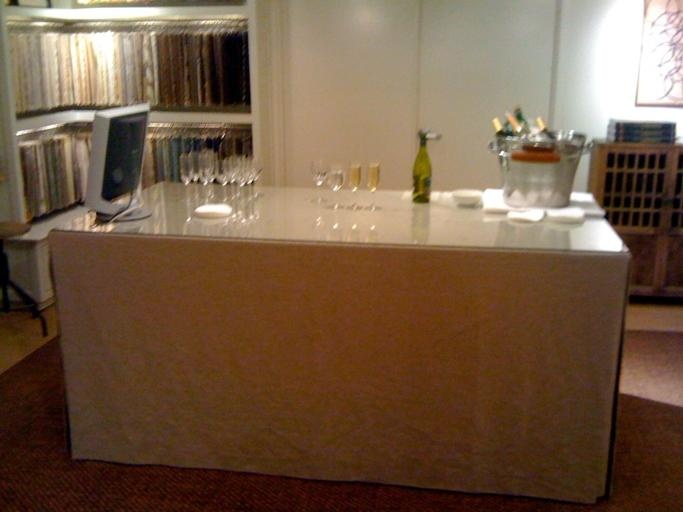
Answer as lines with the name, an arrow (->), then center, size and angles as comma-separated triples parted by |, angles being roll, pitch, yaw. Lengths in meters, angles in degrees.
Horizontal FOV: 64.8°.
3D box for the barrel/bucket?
barrel/bucket -> 0.975, -0.404, 2.645 | 0.421, 0.324, 0.364 | -12, 16, -34
